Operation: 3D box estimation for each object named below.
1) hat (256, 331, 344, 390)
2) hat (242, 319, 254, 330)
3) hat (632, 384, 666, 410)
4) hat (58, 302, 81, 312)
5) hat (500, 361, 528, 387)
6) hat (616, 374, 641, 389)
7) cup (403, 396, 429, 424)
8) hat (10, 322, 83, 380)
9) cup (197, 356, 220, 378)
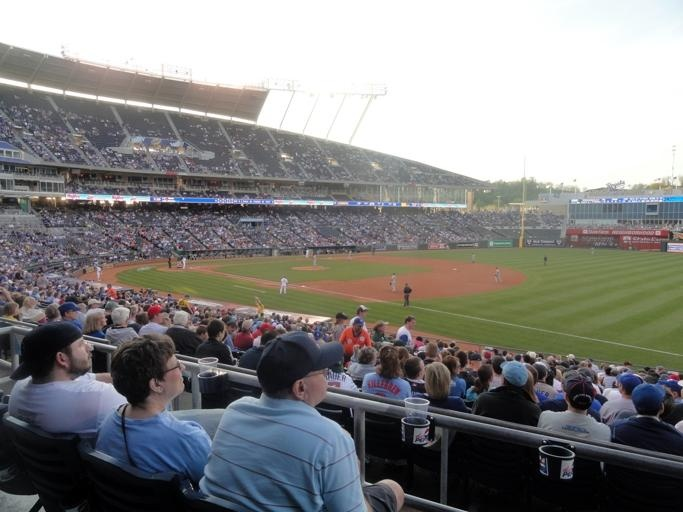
[{"bbox_3d":[-0.349,0.765,4.745,0.733,0.338,0.429,-14,18,-24],"label":"hat"},{"bbox_3d":[-1.825,1.311,11.677,0.193,0.123,0.199,1,2,15],"label":"hat"},{"bbox_3d":[3.119,1.408,6.203,0.225,0.106,0.308,1,24,36],"label":"hat"},{"bbox_3d":[-4.570,0.875,10.242,0.268,0.156,0.389,8,-4,-23],"label":"hat"},{"bbox_3d":[1.930,1.303,6.833,0.265,0.139,0.310,3,28,9],"label":"hat"},{"bbox_3d":[3.548,1.530,7.530,0.190,0.121,0.236,5,22,29],"label":"hat"},{"bbox_3d":[0.630,1.288,5.119,0.187,0.112,0.160,-1,8,-14],"label":"cup"},{"bbox_3d":[-2.693,0.862,5.489,0.450,0.307,0.599,-7,16,40],"label":"hat"},{"bbox_3d":[-1.265,1.069,5.845,0.171,0.140,0.161,0,7,0],"label":"cup"}]
